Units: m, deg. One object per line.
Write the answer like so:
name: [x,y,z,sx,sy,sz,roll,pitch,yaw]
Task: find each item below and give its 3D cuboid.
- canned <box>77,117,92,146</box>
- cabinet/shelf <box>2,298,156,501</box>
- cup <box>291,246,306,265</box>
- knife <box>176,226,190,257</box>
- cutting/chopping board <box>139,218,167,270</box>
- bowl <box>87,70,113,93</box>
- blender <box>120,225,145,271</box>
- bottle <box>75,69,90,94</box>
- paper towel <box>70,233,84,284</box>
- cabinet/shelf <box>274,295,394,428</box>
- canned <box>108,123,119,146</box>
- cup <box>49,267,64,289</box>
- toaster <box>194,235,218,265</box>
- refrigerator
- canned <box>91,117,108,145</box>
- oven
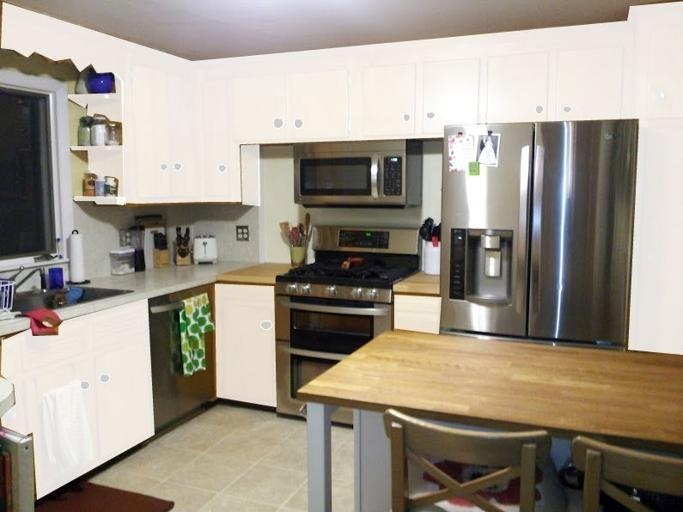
canned: [-1.742,-0.848,3.880,0.098,0.193,0.119,-11,16,-40]
cabinet/shelf: [-1.473,0.789,3.154,0.371,1.037,1.078,-1,1,25]
cup: [-0.349,0.004,4.707,0.127,0.154,0.128,0,4,0]
knife: [-1.330,-0.121,4.762,0.113,0.220,0.188,-4,13,-17]
cutting/chopping board: [-1.513,-0.080,4.537,0.110,0.366,0.353,3,7,2]
bowl: [-1.620,-1.160,3.821,0.178,0.141,0.072,0,12,4]
blender: [-1.593,-0.058,4.402,0.129,0.341,0.215,2,12,11]
bottle: [-1.745,-1.170,3.838,0.045,0.148,0.121,3,0,7]
paper towel: [-1.815,0.002,3.887,0.101,0.346,0.192,-6,13,-26]
cabinet/shelf: [-0.137,0.654,4.463,0.888,1.301,0.842,2,4,23]
canned: [-1.554,-0.823,3.870,0.068,0.140,0.089,1,12,7]
cup: [-1.865,0.144,3.719,0.082,0.131,0.177,-4,13,-14]
toaster: [-1.137,-0.044,4.862,0.193,0.226,0.209,0,5,-6]
refrigerator: [1.250,-0.142,3.462,1.268,1.681,0.621,2,5,23]
canned: [-1.646,-0.847,3.865,0.121,0.189,0.107,0,12,3]
oven: [-0.120,0.583,4.474,0.953,1.373,0.904,1,4,21]
